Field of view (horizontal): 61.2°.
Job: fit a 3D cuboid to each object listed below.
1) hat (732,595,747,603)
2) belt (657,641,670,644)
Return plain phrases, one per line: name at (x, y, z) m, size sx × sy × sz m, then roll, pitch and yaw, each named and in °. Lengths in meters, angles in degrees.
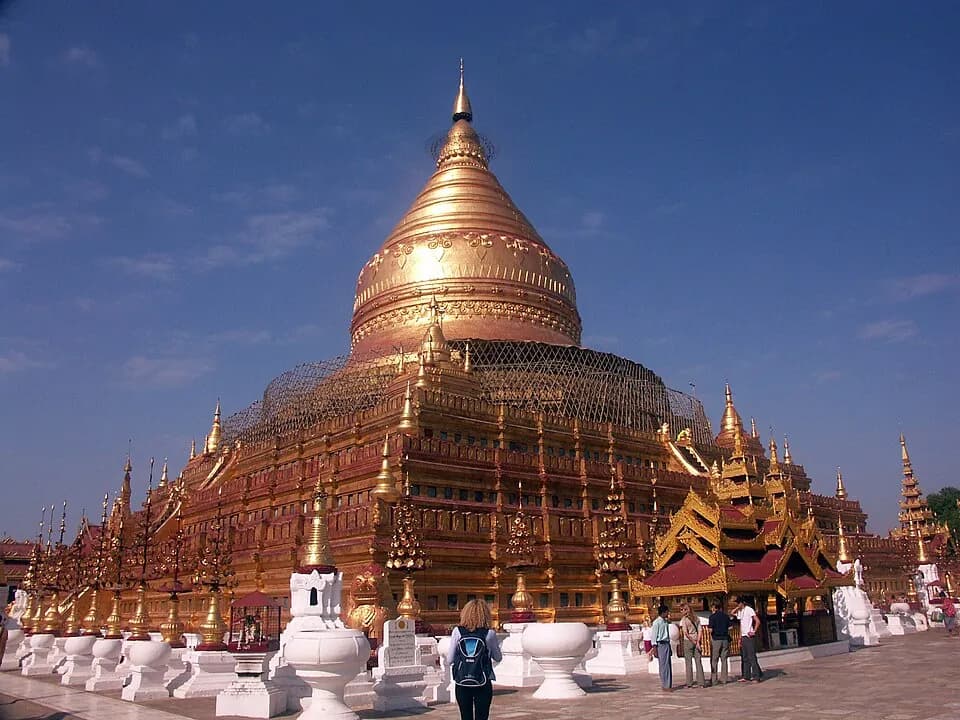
hat at (8.309, 7.730, 26.147) m, size 0.341 × 0.138 × 0.390 m, roll 0°, pitch -9°, yaw -7°
belt at (4.472, 6.881, 19.793) m, size 0.143 × 0.033 × 0.145 m, roll 2°, pitch -7°, yaw -16°
